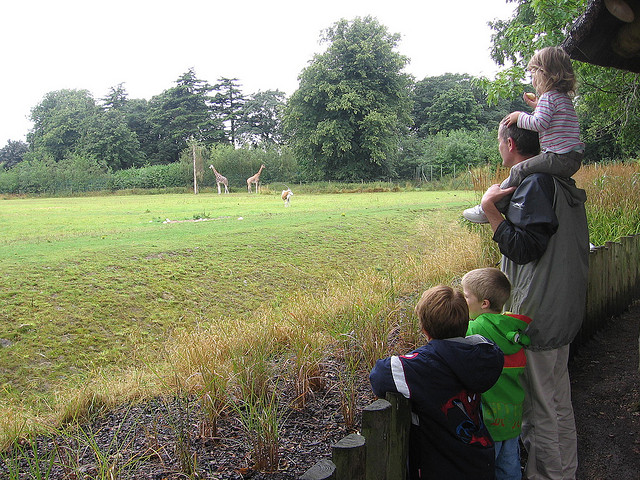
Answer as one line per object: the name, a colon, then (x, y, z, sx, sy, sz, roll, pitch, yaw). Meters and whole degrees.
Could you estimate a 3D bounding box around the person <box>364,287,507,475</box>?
person: (0.746, 0.914, 3.244, 0.770, 1.161, 0.477, 4, 13, 16)

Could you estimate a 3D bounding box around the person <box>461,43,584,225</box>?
person: (1.529, -0.756, 3.687, 0.705, 1.265, 0.553, 2, 13, 8)
